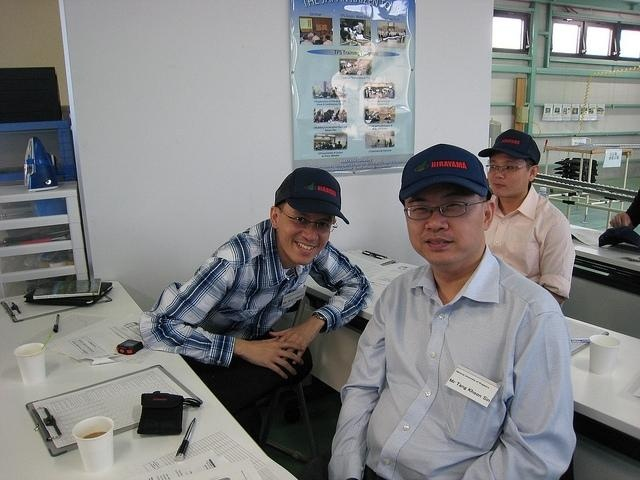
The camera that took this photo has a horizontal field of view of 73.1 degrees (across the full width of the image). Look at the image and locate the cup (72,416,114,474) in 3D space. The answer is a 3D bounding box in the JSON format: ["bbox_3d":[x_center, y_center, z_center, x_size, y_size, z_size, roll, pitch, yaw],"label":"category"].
[{"bbox_3d":[-0.658,0.601,1.268,0.099,0.134,0.098,-2,10,0],"label":"cup"}]

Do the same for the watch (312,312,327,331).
[{"bbox_3d":[-0.001,0.411,2.163,0.065,0.088,0.033,31,60,9],"label":"watch"}]

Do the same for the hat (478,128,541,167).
[{"bbox_3d":[1.109,-0.535,2.512,0.288,0.154,0.209,22,6,-12],"label":"hat"}]

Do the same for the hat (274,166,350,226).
[{"bbox_3d":[-0.033,-0.218,1.976,0.286,0.212,0.403,8,4,-29],"label":"hat"}]

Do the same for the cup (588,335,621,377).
[{"bbox_3d":[1.020,0.410,1.554,0.094,0.130,0.145,1,3,18],"label":"cup"}]
